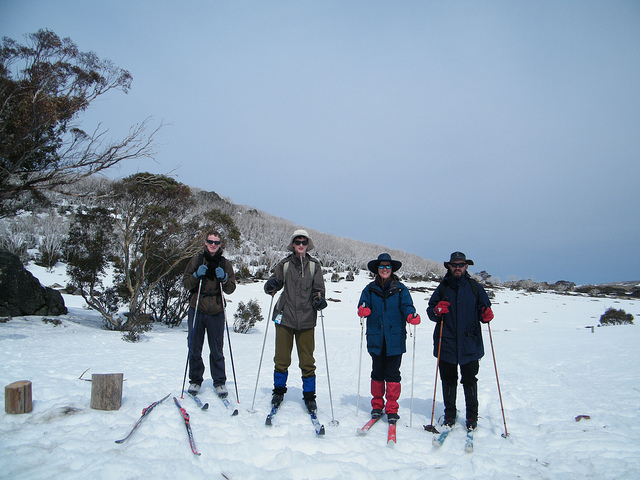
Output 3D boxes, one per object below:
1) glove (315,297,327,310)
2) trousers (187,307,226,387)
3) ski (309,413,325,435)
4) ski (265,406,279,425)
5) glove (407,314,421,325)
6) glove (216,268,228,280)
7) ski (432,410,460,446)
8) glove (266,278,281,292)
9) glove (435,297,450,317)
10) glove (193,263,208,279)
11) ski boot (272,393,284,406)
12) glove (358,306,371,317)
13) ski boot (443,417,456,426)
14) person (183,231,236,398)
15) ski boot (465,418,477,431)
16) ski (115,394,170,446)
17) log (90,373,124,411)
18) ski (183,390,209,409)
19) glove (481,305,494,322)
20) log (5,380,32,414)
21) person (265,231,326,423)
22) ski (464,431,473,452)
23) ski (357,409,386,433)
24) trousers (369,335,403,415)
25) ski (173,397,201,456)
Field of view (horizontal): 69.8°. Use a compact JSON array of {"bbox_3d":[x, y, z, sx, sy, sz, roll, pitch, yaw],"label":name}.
[{"bbox_3d":[0.007,1.323,9.446,0.218,0.241,0.177,-2,-10,1],"label":"glove"},{"bbox_3d":[-2.457,2.254,9.829,0.819,2.141,0.514,1,15,-14],"label":"trousers"},{"bbox_3d":[-0.063,3.640,9.100,0.092,0.162,0.716,2,6,-12],"label":"ski"},{"bbox_3d":[-0.986,3.532,9.172,0.066,0.124,0.507,7,10,6],"label":"ski"},{"bbox_3d":[1.895,1.584,9.098,0.173,0.247,0.220,-6,5,-38],"label":"glove"},{"bbox_3d":[-2.080,0.725,9.668,0.107,0.235,0.291,5,0,44],"label":"glove"},{"bbox_3d":[2.550,3.834,9.249,0.180,0.168,1.281,-2,18,27],"label":"ski"},{"bbox_3d":[-1.000,0.945,9.626,0.264,0.218,0.276,-30,-8,-27],"label":"glove"},{"bbox_3d":[2.484,1.369,9.339,0.217,0.317,0.126,17,-4,-2],"label":"glove"},{"bbox_3d":[-2.541,0.664,9.595,0.272,0.131,0.214,-37,13,14],"label":"glove"},{"bbox_3d":[-0.903,3.310,9.457,0.140,0.286,0.118,9,-33,0],"label":"ski boot"},{"bbox_3d":[0.896,1.493,9.373,0.259,0.220,0.227,5,0,7],"label":"glove"},{"bbox_3d":[2.605,3.674,9.232,0.131,0.185,0.189,7,-18,-16],"label":"ski boot"},{"bbox_3d":[-2.430,1.550,9.766,1.044,3.480,0.581,5,0,-19],"label":"person"},{"bbox_3d":[3.062,3.718,9.237,0.211,0.260,0.168,5,0,12],"label":"ski boot"},{"bbox_3d":[-3.374,3.352,8.805,0.107,0.261,1.865,-20,10,11],"label":"ski"},{"bbox_3d":[-4.205,2.873,9.109,0.625,0.775,0.653,4,6,-32],"label":"log"},{"bbox_3d":[-2.652,3.234,9.590,0.157,0.158,1.161,8,4,-37],"label":"ski"},{"bbox_3d":[3.354,1.504,9.161,0.227,0.316,0.229,5,0,10],"label":"glove"},{"bbox_3d":[-5.722,2.950,8.728,0.477,0.609,0.502,-2,-4,30],"label":"log"},{"bbox_3d":[-0.505,1.723,9.558,1.194,3.915,0.804,5,0,0],"label":"person"},{"bbox_3d":[2.910,4.021,8.935,0.145,0.162,0.467,-3,1,19],"label":"ski"},{"bbox_3d":[0.965,3.730,9.266,0.194,0.221,0.620,5,0,38],"label":"ski"},{"bbox_3d":[1.351,2.540,9.328,0.619,2.217,0.619,0,8,6],"label":"trousers"},{"bbox_3d":[-2.526,3.546,8.578,0.111,0.159,1.336,6,18,-30],"label":"ski"}]
